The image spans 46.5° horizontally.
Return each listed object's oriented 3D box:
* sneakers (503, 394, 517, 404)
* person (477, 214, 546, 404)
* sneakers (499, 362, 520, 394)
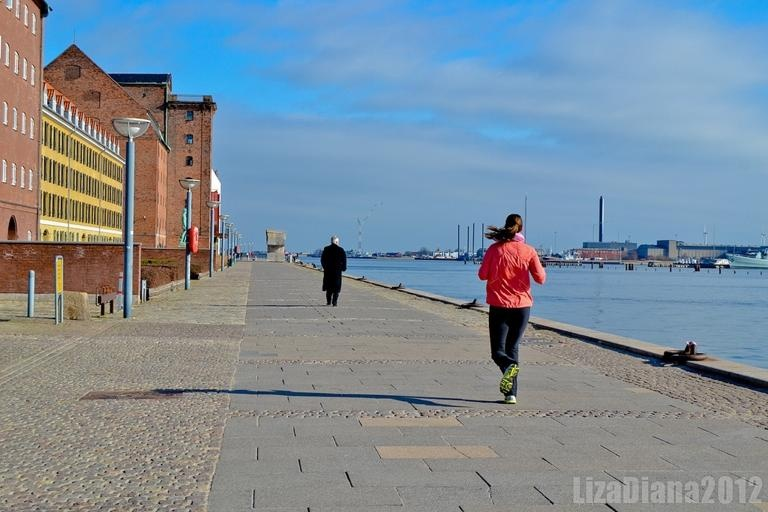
[{"bbox_3d":[1.688,1.909,12.030,0.140,0.119,0.302,-1,-8,1],"label":"sneakers"},{"bbox_3d":[1.702,0.695,12.170,0.879,2.269,0.701,2,0,7],"label":"person"},{"bbox_3d":[1.665,1.633,11.992,0.232,0.367,0.174,2,0,-5],"label":"sneakers"}]
